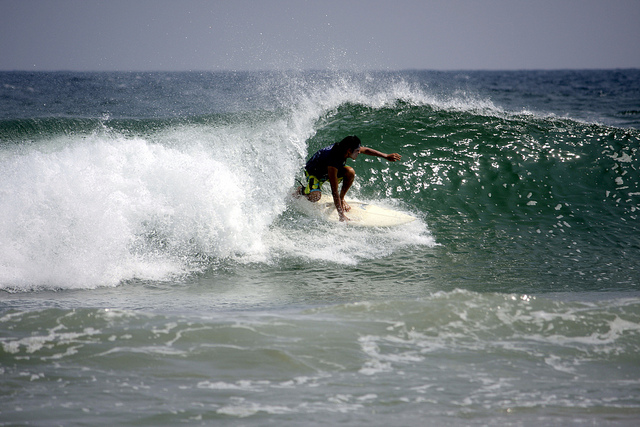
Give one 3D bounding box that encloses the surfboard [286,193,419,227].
[{"bbox_3d":[0.590,-0.069,15.745,2.425,0.597,0.843,-1,6,1],"label":"surfboard"}]
